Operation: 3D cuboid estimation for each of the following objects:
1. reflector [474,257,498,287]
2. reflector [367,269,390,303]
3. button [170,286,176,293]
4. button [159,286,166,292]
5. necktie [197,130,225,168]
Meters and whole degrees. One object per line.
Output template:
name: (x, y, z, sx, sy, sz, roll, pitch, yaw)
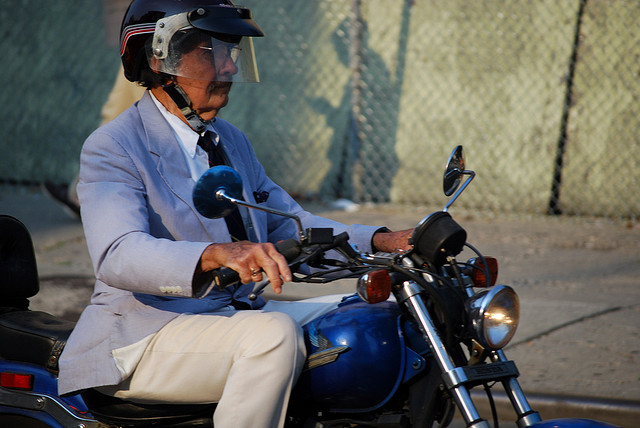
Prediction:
reflector: (1.200, 0.425, 7.784, 0.279, 0.222, 0.037, 9, -11, -40)
reflector: (0.409, 0.498, 7.465, 0.275, 0.262, 0.043, -3, 3, -28)
button: (-1.049, 0.530, 7.629, 0.048, 0.044, 0.018, -1, -10, -2)
button: (-1.124, 0.535, 7.637, 0.028, 0.010, 0.034, -18, 44, -36)
necktie: (-0.841, -0.494, 8.162, 0.088, 0.342, 0.106, -31, 7, 36)
